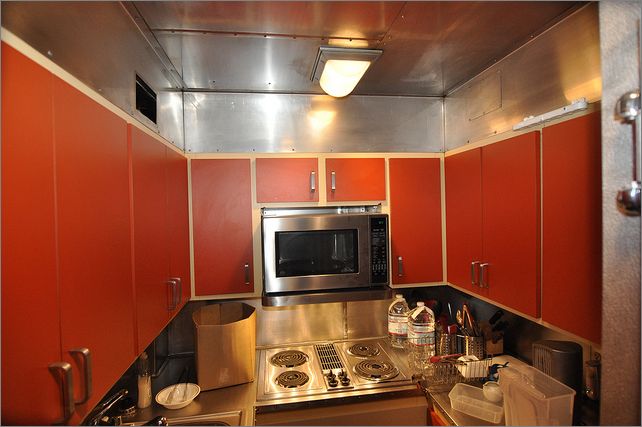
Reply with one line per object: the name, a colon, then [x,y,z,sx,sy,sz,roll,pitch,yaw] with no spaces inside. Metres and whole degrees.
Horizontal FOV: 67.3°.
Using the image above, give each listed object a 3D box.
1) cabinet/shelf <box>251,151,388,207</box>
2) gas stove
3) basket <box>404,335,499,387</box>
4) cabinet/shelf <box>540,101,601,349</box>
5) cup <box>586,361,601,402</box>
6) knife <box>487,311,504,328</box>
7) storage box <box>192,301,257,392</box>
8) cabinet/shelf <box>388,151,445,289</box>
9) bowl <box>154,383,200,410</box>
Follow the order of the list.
cabinet/shelf: [0.004,-0.185,3.038,0.821,0.289,0.234,-1,-12,-5]
gas stove: [0.057,0.884,2.793,0.853,0.194,0.568,-2,-4,-7]
basket: [0.705,0.826,2.663,0.261,0.117,0.359,-2,1,-1]
cabinet/shelf: [1.173,-0.011,2.213,0.100,0.878,0.377,5,-8,-11]
cup: [1.322,0.803,2.344,0.073,0.189,0.048,-5,-4,27]
knife: [1.012,0.602,2.787,0.049,0.051,0.089,5,-36,-46]
storage box: [-0.541,0.734,2.734,0.338,0.435,0.300,-2,-4,-15]
cabinet/shelf: [0.541,0.139,3.166,0.435,0.773,0.394,5,-20,-10]
bowl: [-0.759,0.955,2.560,0.232,0.104,0.177,-2,-4,-10]
